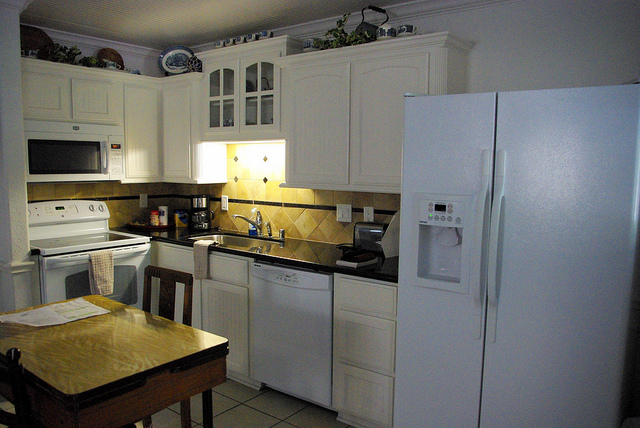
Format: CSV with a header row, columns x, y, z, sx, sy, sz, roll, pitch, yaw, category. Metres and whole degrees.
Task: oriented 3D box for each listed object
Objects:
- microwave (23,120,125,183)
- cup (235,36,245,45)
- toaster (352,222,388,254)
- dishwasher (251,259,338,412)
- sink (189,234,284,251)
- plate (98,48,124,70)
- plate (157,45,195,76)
x,y,z,sx,sy,sz,roll,pitch,yaw,category
-2.288,-0.563,4.378,0.896,0.545,0.550,0,3,-10,microwave
-0.721,-1.578,4.084,0.054,0.082,0.136,-6,9,-38,cup
0.440,0.190,3.700,0.287,0.247,0.161,6,7,41,toaster
-0.215,0.893,3.493,0.728,1.034,0.098,4,8,32,dishwasher
-0.761,0.265,4.258,0.862,0.092,0.316,2,7,22,sink
-2.114,-1.613,4.582,0.052,0.239,0.253,-7,3,31,plate
-1.489,-1.598,4.656,0.364,0.350,0.093,2,24,9,plate
